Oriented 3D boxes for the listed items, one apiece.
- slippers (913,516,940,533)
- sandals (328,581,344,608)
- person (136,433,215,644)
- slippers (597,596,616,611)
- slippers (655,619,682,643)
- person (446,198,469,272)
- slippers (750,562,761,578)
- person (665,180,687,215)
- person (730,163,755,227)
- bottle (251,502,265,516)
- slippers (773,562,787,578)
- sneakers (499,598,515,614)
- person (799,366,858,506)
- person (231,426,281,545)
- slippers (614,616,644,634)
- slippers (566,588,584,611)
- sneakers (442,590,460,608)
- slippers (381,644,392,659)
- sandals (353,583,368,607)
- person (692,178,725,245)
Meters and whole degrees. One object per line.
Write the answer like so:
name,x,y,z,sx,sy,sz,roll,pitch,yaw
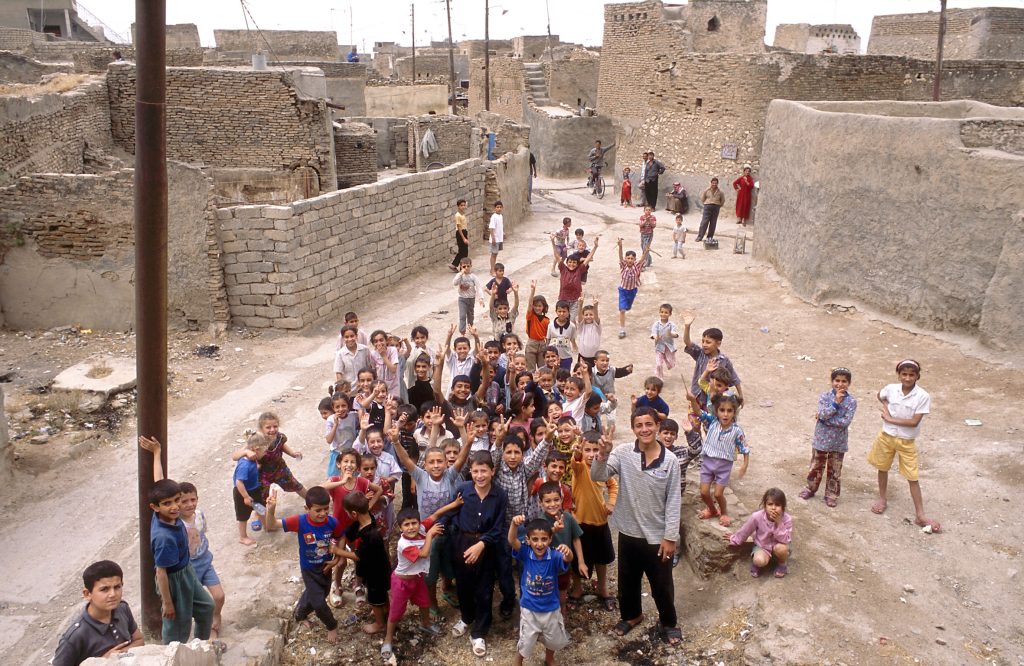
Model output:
slippers,4.922,2.247,9.699,0.123,0.243,0.247,-54,16,-17
sandals,-2.015,2.945,9.243,0.105,0.121,0.282,16,22,-36
person,-3.649,2.268,8.762,0.719,2.643,0.719,-6,41,-12
slippers,1.058,3.014,9.154,0.166,0.059,0.126,7,9,-16
slippers,1.670,3.147,8.659,0.155,0.124,0.341,9,-3,-10
person,-1.270,-2.205,18.427,0.693,2.130,0.685,7,60,0
slippers,2.707,2.629,9.081,0.064,0.076,0.191,-4,5,14
person,4.882,-3.930,23.936,0.644,0.903,0.429,5,20,14
person,6.435,-3.777,22.658,0.585,1.596,0.542,6,20,18
bottle,-3.104,2.115,9.921,0.294,0.109,0.108,-3,35,48
slippers,2.938,2.565,8.918,0.142,0.146,0.132,5,20,15
sneakers,-0.061,2.982,8.952,0.128,0.198,0.207,6,29,5
person,3.877,1.227,9.949,0.447,1.645,0.572,9,21,24
person,-3.103,1.892,9.897,0.508,1.522,0.650,14,36,0
slippers,1.263,3.117,8.823,0.307,0.080,0.129,-29,23,-17
slippers,0.689,2.959,9.103,0.218,0.114,0.515,-1,10,4
sneakers,-0.702,2.971,9.192,0.142,0.140,0.171,-5,20,-14
slippers,-1.327,3.330,8.596,0.117,0.114,0.114,-3,5,0
sandals,-1.736,2.955,9.286,0.113,0.119,0.284,5,24,-13
person,4.992,-3.082,20.571,0.531,1.616,1.394,4,19,12
